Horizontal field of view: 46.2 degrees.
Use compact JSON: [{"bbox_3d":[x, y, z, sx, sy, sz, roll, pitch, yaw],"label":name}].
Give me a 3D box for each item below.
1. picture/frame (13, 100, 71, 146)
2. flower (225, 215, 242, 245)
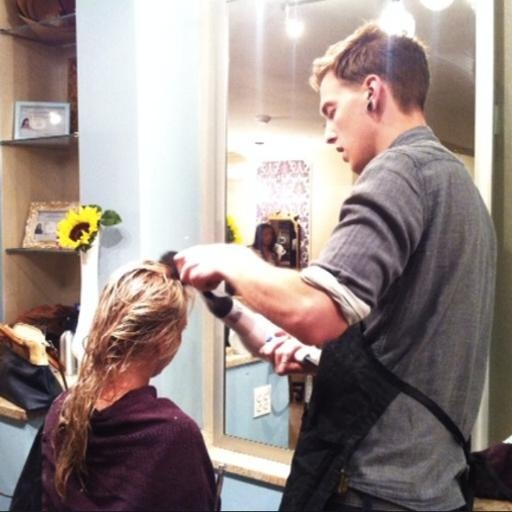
[{"bbox_3d":[-0.761,-0.480,2.124,0.211,0.196,0.139,2,11,-11],"label":"picture/frame"},{"bbox_3d":[-0.064,-0.067,1.693,0.034,0.074,0.053,-8,-6,2],"label":"flower"}]
